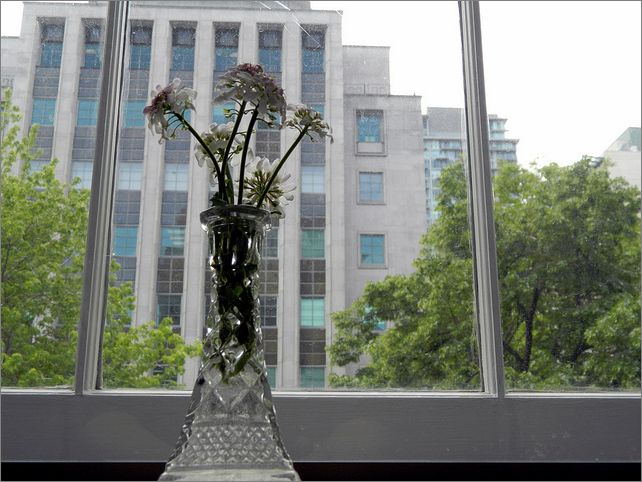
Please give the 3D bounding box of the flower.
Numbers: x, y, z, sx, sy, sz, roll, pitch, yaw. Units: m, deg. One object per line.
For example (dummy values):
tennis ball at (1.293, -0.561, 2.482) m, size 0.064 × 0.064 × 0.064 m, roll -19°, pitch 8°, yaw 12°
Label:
flower at (-0.171, 0.005, 1.963) m, size 0.418 × 0.691 × 0.352 m, roll -6°, pitch -15°, yaw 44°
